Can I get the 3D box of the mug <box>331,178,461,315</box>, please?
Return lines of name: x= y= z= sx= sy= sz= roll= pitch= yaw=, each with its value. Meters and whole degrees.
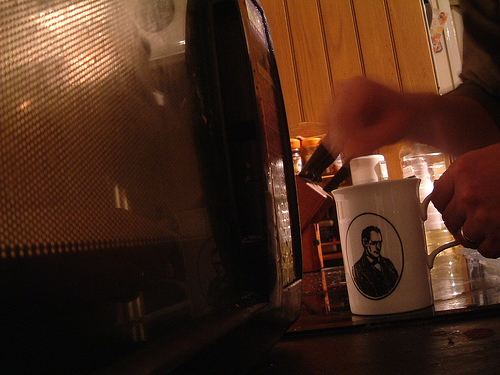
mug: x=0.211 y=0.082 z=0.585 sx=0.169 sy=0.105 sz=0.174 roll=3 pitch=76 yaw=-40

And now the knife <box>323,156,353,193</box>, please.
knife: x=0.256 y=-0.041 z=1.201 sx=0.034 sy=0.178 sz=0.023 roll=29 pitch=51 yaw=4

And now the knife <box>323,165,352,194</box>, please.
knife: x=0.254 y=-0.028 z=1.192 sx=0.026 sy=0.110 sz=0.012 roll=30 pitch=14 yaw=-6

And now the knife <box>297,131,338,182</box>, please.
knife: x=0.170 y=-0.071 z=1.107 sx=0.056 sy=0.185 sz=0.052 roll=15 pitch=47 yaw=-26

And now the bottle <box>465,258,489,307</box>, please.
bottle: x=0.353 y=0.140 z=0.629 sx=0.029 sy=0.098 sz=0.001 roll=-8 pitch=20 yaw=26

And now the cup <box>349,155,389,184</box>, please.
cup: x=0.249 y=-0.037 z=0.830 sx=0.057 sy=0.059 sz=0.077 roll=-18 pitch=18 yaw=-18
